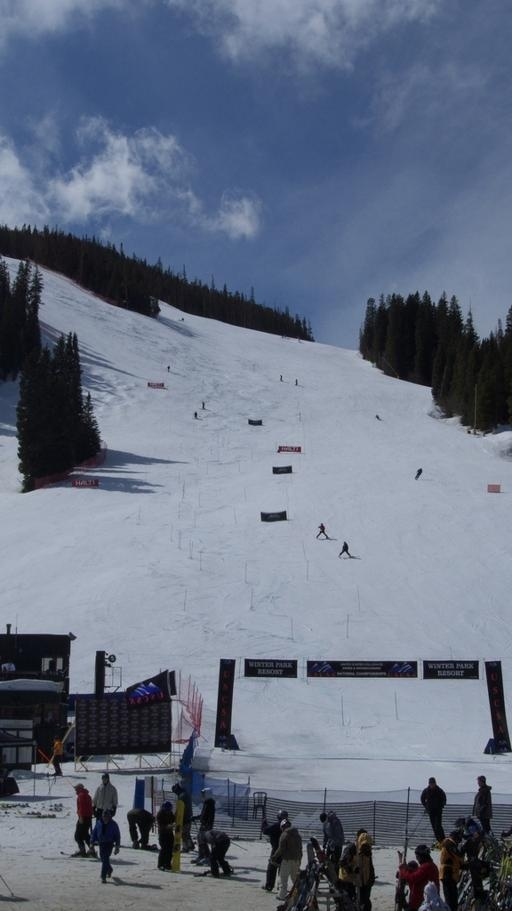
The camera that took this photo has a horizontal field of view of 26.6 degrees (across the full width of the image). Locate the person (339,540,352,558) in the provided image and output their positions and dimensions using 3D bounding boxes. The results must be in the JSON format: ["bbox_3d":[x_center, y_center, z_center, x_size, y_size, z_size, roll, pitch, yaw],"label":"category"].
[{"bbox_3d":[3.851,4.328,47.051,0.580,0.578,1.275,0,12,2],"label":"person"}]

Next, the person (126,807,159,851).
[{"bbox_3d":[-1.911,6.362,18.157,0.447,0.914,0.801,-2,11,-9],"label":"person"}]

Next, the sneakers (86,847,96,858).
[{"bbox_3d":[-2.555,6.318,16.799,0.111,0.060,0.157,-5,14,-32],"label":"sneakers"}]

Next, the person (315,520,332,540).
[{"bbox_3d":[3.038,3.677,49.817,0.646,0.520,1.714,0,13,2],"label":"person"}]

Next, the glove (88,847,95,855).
[{"bbox_3d":[-2.548,6.337,16.817,0.112,0.149,0.115,-6,-6,-19],"label":"glove"}]
